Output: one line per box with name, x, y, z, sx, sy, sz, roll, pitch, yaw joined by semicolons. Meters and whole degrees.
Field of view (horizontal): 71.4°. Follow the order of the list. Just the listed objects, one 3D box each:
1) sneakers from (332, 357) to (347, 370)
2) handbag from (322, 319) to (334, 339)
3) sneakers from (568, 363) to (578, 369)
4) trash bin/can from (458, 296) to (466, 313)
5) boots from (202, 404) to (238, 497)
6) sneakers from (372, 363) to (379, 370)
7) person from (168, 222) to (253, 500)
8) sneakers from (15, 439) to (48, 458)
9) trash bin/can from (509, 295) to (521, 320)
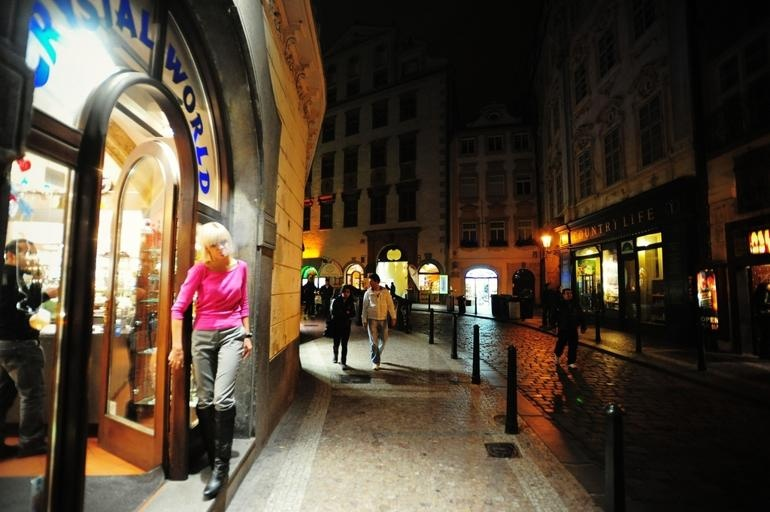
sneakers;-0.991;2.361;11.760;0.136;0.182;0.415;5;-10;-21
handbag;-1.251;1.620;11.884;0.141;0.423;0.287;3;-2;-14
sneakers;4.023;2.372;11.564;0.195;0.088;0.356;5;9;23
trash bin/can;3.538;2.227;24.949;0.305;0.804;1.025;2;8;7
boots;-1.962;2.273;6.342;0.327;0.953;0.506;0;7;-9
sneakers;-0.202;2.353;11.411;0.112;0.116;0.206;1;-1;-5
person;-2.052;1.157;6.371;0.926;3.061;0.688;-2;8;-22
sneakers;-4.183;2.275;6.393;0.458;0.205;0.151;4;8;16
trash bin/can;5.240;2.132;21.871;0.470;0.725;0.440;1;7;-1
